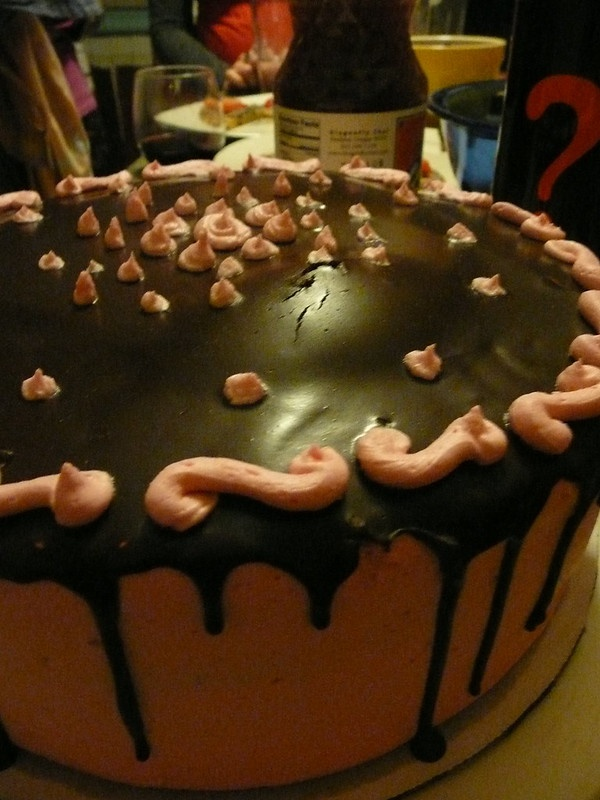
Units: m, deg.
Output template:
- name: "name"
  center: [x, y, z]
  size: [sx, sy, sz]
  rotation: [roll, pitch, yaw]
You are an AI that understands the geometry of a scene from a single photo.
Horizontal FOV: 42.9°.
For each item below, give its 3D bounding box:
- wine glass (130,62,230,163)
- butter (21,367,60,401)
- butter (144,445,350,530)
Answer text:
- name: "wine glass"
  center: [-0.420, -0.959, 2.636]
  size: [0.408, 0.335, 0.368]
  rotation: [-7, 24, -10]
- name: "butter"
  center: [-0.425, -0.028, 1.280]
  size: [0.062, 0.039, 0.057]
  rotation: [-1, 50, -6]
- name: "butter"
  center: [-0.069, 0.126, 1.074]
  size: [0.262, 0.069, 0.107]
  rotation: [-6, 29, 4]
